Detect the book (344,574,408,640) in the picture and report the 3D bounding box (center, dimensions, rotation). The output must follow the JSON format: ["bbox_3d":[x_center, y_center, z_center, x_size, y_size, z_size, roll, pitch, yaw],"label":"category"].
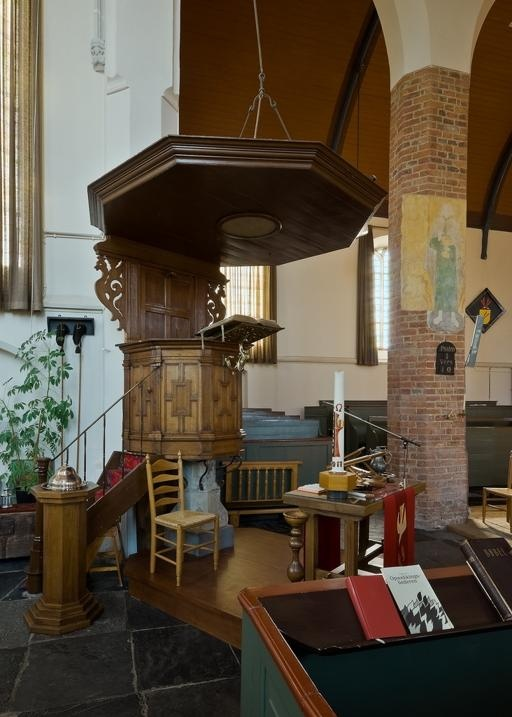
[{"bbox_3d":[0.350,0.718,1.894,0.133,0.148,0.145,-7,4,-14],"label":"book"}]

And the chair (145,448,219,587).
[{"bbox_3d":[-0.452,1.027,4.214,0.455,0.713,0.425,0,-2,-24],"label":"chair"}]

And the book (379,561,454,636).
[{"bbox_3d":[0.472,0.712,1.942,0.195,0.181,0.047,17,-49,-30],"label":"book"}]
